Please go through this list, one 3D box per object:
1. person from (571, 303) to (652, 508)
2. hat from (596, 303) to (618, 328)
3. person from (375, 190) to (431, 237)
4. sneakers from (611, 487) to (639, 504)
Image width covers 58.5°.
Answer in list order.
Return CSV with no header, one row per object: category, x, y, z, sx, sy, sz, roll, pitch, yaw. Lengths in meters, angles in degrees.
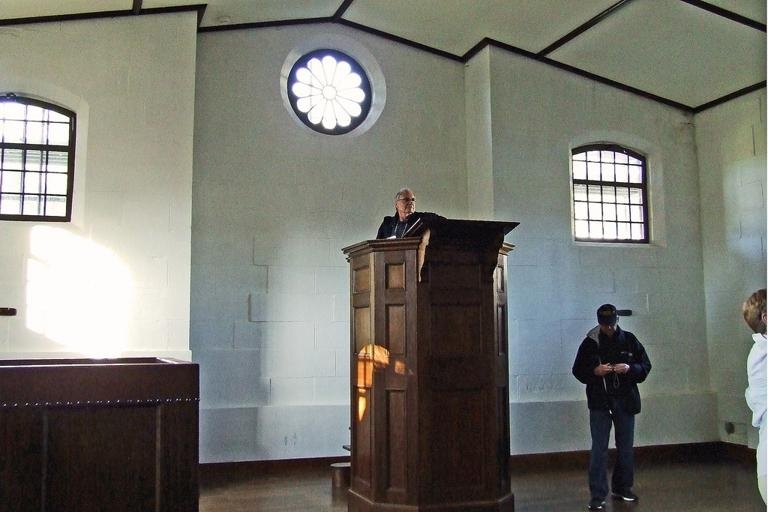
person,2.360,1.644,7.141,0.691,1.735,0.403,0,0,-20
hat,2.360,0.624,7.259,0.160,0.143,0.254,-1,7,18
person,0.142,-0.435,6.807,0.367,0.481,0.788,0,0,-4
sneakers,2.540,2.528,7.214,0.269,0.136,0.115,-6,-11,35
